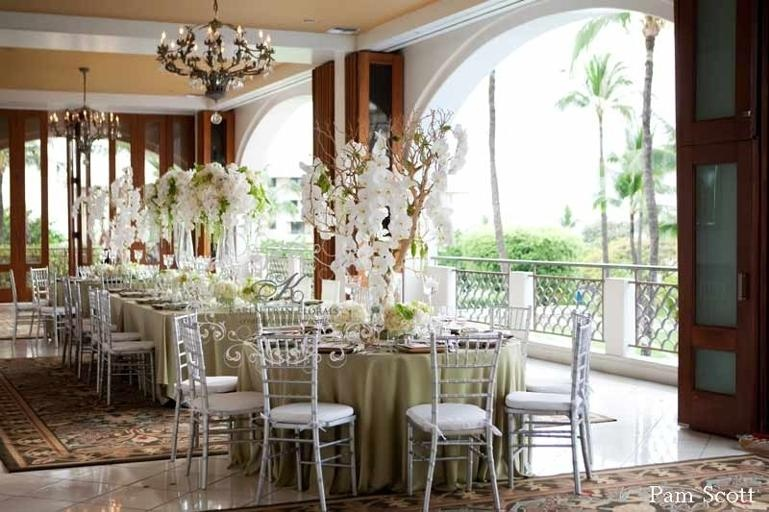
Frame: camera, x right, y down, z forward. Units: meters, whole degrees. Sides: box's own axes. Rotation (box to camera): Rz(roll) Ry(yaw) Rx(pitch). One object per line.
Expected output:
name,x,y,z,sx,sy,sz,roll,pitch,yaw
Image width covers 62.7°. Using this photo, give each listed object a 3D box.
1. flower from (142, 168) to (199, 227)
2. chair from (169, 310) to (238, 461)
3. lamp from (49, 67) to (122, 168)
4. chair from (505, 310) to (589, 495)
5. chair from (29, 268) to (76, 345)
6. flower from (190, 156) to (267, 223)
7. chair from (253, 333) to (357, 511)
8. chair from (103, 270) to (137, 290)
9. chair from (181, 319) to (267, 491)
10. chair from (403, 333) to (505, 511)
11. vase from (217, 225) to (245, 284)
flower,-2.504,-0.846,7.477,0.512,0.248,0.577,-6,21,7
chair,-1.440,1.147,5.818,0.767,1.158,0.742,-4,-1,-13
lamp,-5.689,-2.766,12.093,1.178,1.675,1.229,3,6,31
chair,1.358,1.232,5.346,0.851,1.305,0.923,3,-8,-16
chair,-5.423,0.796,10.333,0.583,1.008,0.675,2,-9,37
flower,-1.873,-0.836,7.243,0.735,0.503,0.852,8,7,26
chair,-0.634,1.242,4.950,0.818,1.337,0.558,-1,1,3
chair,-3.856,0.360,9.153,0.315,0.194,0.431,1,-3,-18
chair,-1.337,1.277,5.447,0.768,1.214,0.678,1,-10,-20
chair,0.573,1.237,4.894,0.799,1.369,0.614,-2,1,-5
vase,-1.765,-0.026,7.222,0.286,0.635,0.405,-2,1,-19
